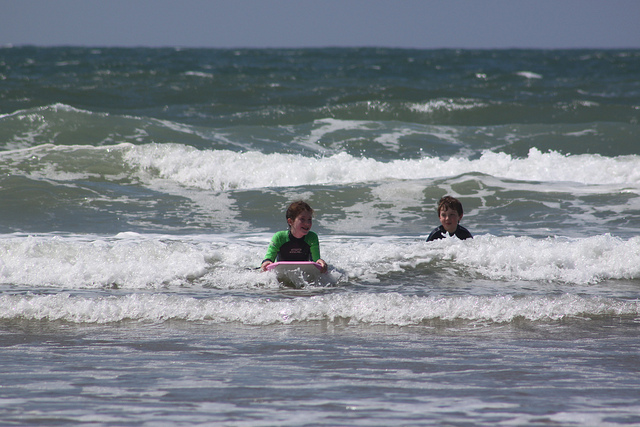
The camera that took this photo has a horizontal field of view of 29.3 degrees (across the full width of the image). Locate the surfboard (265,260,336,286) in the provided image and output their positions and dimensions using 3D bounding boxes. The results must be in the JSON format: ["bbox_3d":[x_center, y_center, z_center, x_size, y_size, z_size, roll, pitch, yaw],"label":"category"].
[{"bbox_3d":[-0.401,1.281,25.635,1.446,0.535,0.276,-1,3,-4],"label":"surfboard"}]

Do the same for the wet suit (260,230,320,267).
[{"bbox_3d":[-0.590,0.760,26.294,1.358,1.105,0.724,3,0,-2],"label":"wet suit"}]
